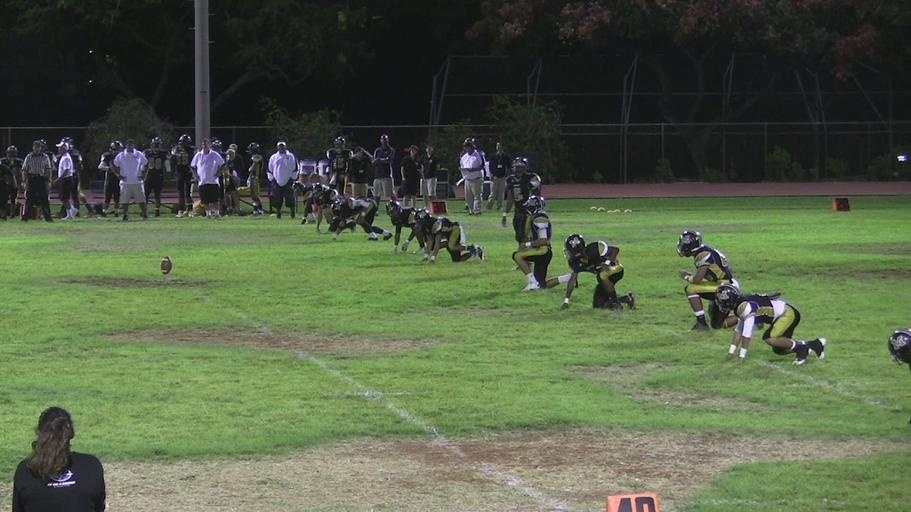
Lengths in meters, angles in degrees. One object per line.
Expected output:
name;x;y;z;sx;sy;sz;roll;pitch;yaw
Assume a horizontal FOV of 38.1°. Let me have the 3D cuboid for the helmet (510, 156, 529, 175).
helmet;1.768;-2.588;37.990;0.521;0.546;0.653;-3;-5;27
